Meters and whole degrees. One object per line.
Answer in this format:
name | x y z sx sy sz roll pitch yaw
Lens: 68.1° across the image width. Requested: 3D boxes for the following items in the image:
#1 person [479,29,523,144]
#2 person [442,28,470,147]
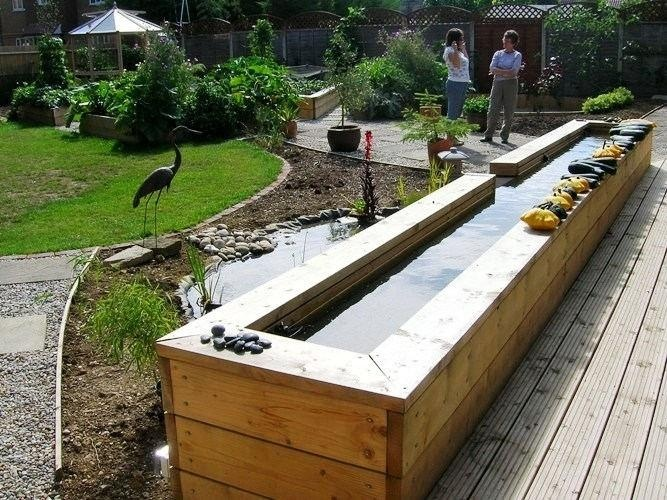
person | 3.126 -3.063 9.147 0.558 2.013 1.154 6 19 18
person | 2.246 -3.218 8.978 0.465 1.552 0.791 4 19 12
